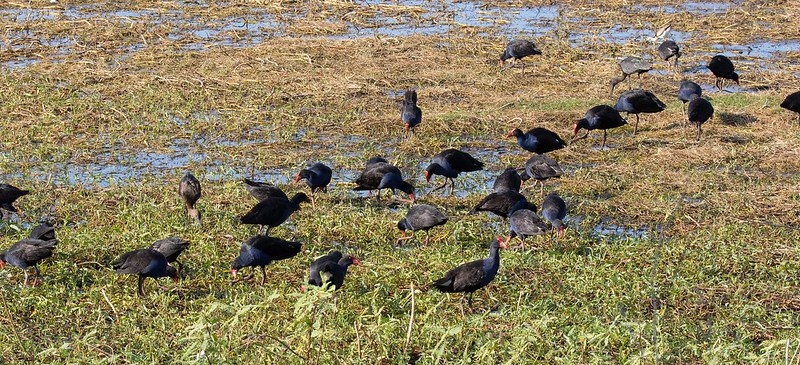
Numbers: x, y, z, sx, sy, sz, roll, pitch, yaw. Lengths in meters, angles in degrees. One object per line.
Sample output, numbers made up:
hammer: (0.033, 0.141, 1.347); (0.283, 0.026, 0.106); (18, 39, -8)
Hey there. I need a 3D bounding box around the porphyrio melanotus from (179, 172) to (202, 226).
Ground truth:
porphyrio melanotus: (-6.156, 0.446, 25.150); (0.538, 1.687, 0.763); (-3, -4, -12)
